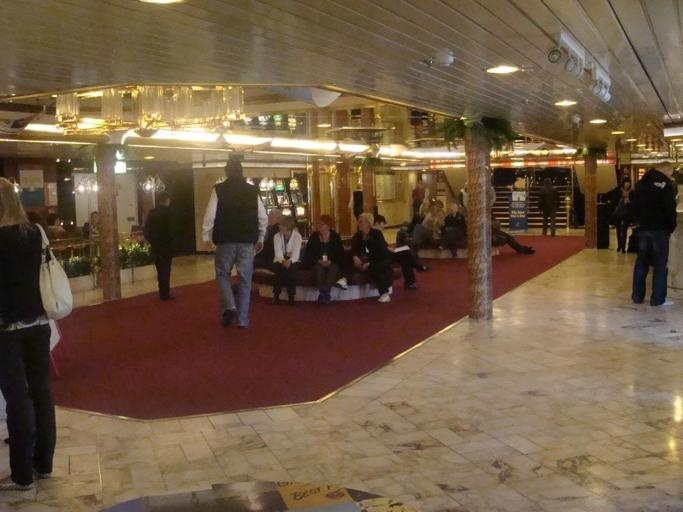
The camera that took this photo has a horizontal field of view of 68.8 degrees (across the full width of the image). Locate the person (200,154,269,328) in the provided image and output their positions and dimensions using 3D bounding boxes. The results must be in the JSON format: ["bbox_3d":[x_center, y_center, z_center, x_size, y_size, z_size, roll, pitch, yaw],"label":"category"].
[{"bbox_3d":[-1.547,-0.232,7.340,0.969,2.418,0.593,1,-2,-22],"label":"person"}]

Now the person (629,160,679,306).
[{"bbox_3d":[5.007,-0.370,8.051,0.529,2.320,0.681,1,-1,19],"label":"person"}]

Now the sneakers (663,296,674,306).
[{"bbox_3d":[5.377,0.732,8.253,0.084,0.171,0.252,4,20,37],"label":"sneakers"}]

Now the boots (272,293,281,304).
[{"bbox_3d":[-1.143,0.743,8.804,0.168,0.292,0.160,2,-1,-13],"label":"boots"}]

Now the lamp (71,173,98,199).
[{"bbox_3d":[-8.275,-2.330,16.159,0.619,0.547,0.612,1,0,-21],"label":"lamp"}]

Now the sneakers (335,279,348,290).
[{"bbox_3d":[0.006,0.489,9.008,0.129,0.147,0.223,-3,-10,24],"label":"sneakers"}]

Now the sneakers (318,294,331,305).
[{"bbox_3d":[-0.300,0.745,8.699,0.133,0.206,0.221,10,16,41],"label":"sneakers"}]
